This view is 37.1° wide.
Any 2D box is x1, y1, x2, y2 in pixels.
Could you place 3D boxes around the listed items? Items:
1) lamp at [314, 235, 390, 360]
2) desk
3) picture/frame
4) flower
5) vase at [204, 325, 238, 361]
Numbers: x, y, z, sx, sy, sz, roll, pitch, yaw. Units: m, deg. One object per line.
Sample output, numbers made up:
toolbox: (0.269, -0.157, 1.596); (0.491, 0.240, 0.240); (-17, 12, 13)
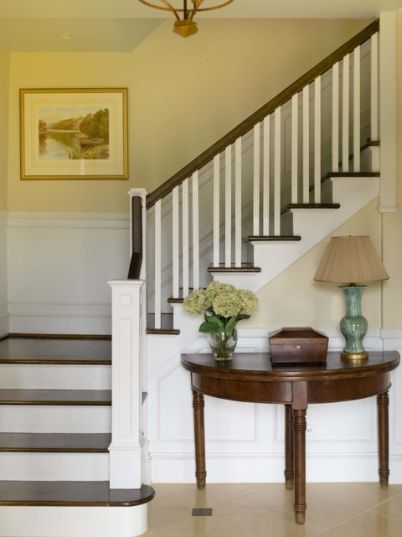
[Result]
lamp: (0.831, 0.149, 3.365); (0.385, 0.671, 0.407); (1, 6, 10)
desk: (0.476, 1.016, 3.370); (1.132, 0.647, 0.889); (-1, 0, -3)
picture/frame: (-0.985, -1.105, 4.768); (0.811, 0.623, 0.053); (-1, 6, 4)
flower: (0.106, 0.206, 3.270); (0.342, 0.312, 0.326); (2, 5, -3)
vase: (0.120, 0.421, 3.272); (0.170, 0.170, 0.167); (-2, -5, 18)
